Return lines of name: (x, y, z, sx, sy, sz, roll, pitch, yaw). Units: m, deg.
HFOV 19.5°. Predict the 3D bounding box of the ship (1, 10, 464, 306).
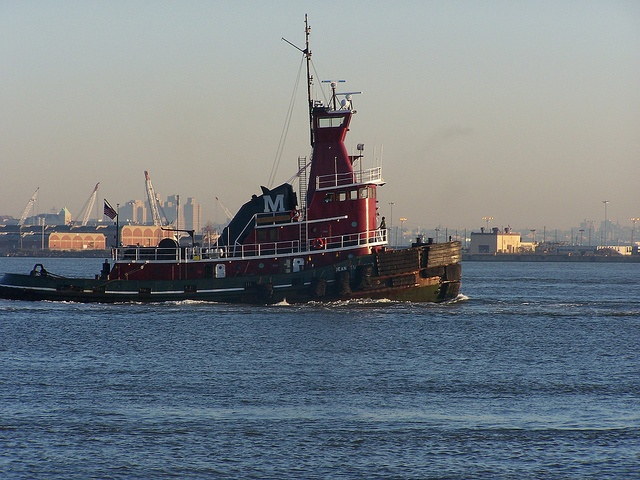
ship: (-8.188, -2.379, 134.800, 38.420, 21.483, 13.461, -1, 1, 7)
